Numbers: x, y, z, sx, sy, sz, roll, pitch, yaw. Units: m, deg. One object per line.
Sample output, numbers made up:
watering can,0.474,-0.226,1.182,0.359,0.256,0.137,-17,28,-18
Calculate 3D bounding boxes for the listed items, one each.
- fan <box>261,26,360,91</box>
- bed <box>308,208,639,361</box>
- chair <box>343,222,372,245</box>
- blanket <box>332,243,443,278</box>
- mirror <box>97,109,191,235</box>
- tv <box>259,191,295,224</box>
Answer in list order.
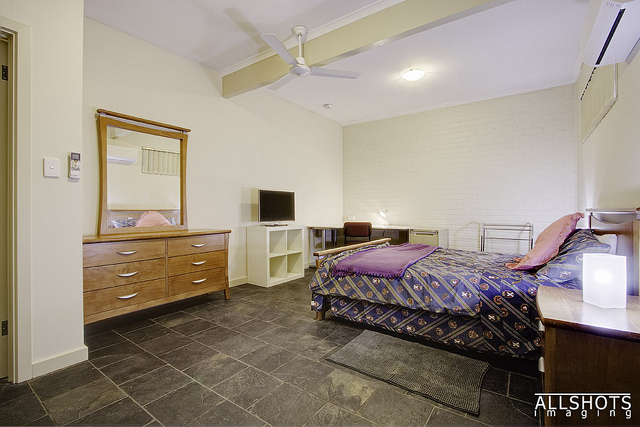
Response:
fan,-0.183,-1.643,4.337,0.705,0.324,0.828,0,-2,-22
bed,1.405,0.645,4.143,2.404,1.231,1.616,3,3,36
chair,0.581,0.294,6.061,0.366,0.453,0.407,0,3,9
blanket,0.641,0.488,4.555,0.735,0.166,1.209,1,12,16
mirror,-2.125,-0.483,4.654,1.095,1.419,0.162,-8,10,-43
tv,-0.649,-0.112,5.863,0.032,0.474,0.756,0,1,41
